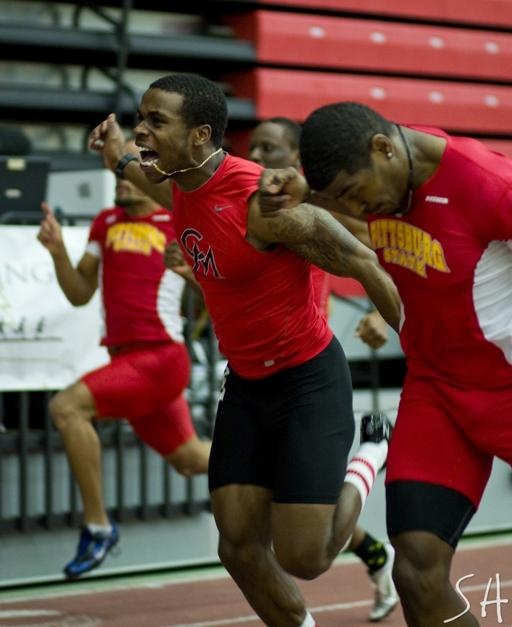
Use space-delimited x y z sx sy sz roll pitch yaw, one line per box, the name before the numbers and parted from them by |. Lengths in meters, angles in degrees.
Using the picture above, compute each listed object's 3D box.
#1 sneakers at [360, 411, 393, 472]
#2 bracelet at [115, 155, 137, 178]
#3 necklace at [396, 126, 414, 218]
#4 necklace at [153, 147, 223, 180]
sneakers | 0.531 0.522 4.211 0.124 0.118 0.316 -14 -20 11
bracelet | -0.589 -0.670 4.295 0.046 0.104 0.108 24 -30 2
necklace | 0.474 -0.451 2.963 0.053 0.286 0.103 -1 8 -6
necklace | -0.240 -0.536 3.423 0.186 0.033 0.125 -12 0 1
